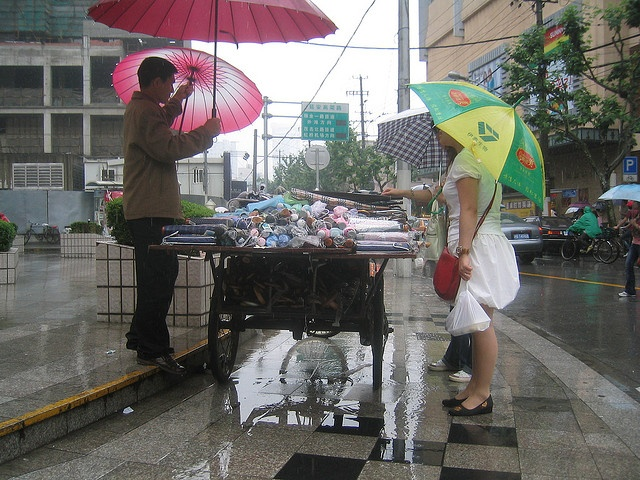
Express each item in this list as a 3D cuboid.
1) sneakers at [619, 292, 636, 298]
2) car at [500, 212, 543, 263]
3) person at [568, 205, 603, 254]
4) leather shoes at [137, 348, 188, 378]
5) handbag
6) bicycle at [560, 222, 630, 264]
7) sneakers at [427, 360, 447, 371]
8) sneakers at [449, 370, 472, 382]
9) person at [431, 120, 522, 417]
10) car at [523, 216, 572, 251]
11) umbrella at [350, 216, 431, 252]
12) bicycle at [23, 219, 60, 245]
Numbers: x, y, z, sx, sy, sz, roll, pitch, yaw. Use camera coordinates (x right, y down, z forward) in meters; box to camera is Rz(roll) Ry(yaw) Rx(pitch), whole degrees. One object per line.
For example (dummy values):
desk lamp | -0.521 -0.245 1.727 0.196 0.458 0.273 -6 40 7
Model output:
sneakers | 5.440 0.964 10.537 0.283 0.082 0.244 4 7 19
car | 5.966 -0.066 17.429 1.373 1.145 3.350 -1 7 5
person | 8.346 -0.309 18.732 0.880 1.432 1.073 2 7 9
leather shoes | -1.411 1.092 5.439 0.500 0.229 0.175 13 -1 -11
handbag | 1.130 -0.003 5.150 0.340 1.075 0.111 29 -22 -31
bicycle | 8.506 0.202 18.620 1.162 1.492 2.418 -3 7 -16
sneakers | 1.183 1.269 6.040 0.192 0.090 0.080 4 -5 8
sneakers | 1.352 1.305 5.730 0.202 0.087 0.110 3 -3 10
person | 1.361 0.248 5.088 0.707 2.359 0.603 1 6 -1
car | 7.900 -0.220 20.393 0.941 0.753 2.197 -1 7 5
umbrella | 0.566 -0.011 5.172 0.621 0.303 0.855 2 7 4
bicycle | -12.897 -0.329 27.739 1.976 1.187 0.762 4 2 5
